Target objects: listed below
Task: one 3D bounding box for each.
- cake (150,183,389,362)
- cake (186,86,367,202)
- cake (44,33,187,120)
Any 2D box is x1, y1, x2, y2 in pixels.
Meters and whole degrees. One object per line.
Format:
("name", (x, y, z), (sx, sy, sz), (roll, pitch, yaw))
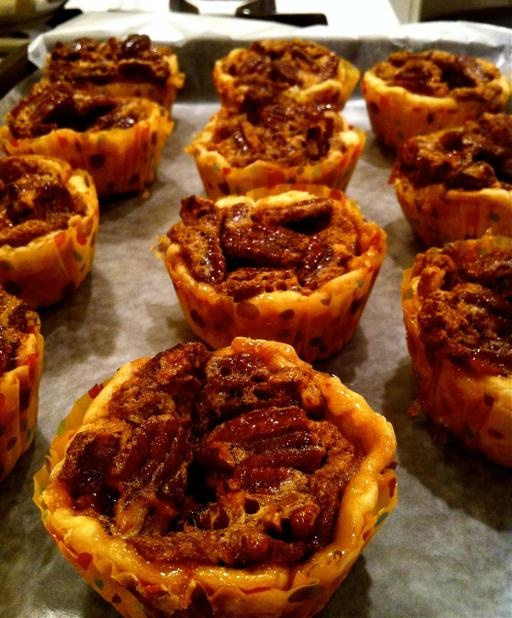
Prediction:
("cake", (0.056, -0.137, 1.915), (0.790, 0.384, 0.587), (7, 37, 8))
("cake", (0.081, -0.661, 2.453), (0.586, 0.282, 0.529), (-16, 41, -15))
("cake", (-0.634, -1.092, 2.853), (0.561, 0.256, 0.413), (4, 26, 8))
